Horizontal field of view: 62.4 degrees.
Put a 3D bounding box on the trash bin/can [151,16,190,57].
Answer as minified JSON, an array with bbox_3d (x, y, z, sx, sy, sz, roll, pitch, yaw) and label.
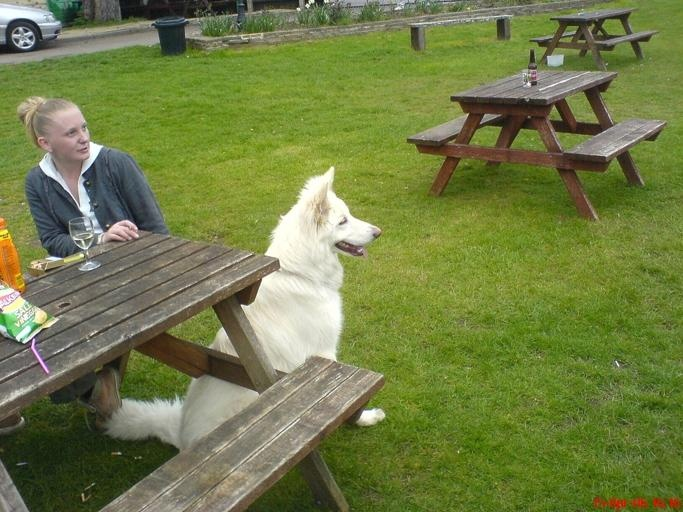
[{"bbox_3d":[-4.738,-6.099,15.789,0.806,0.929,0.479,-6,25,-16],"label":"trash bin/can"}]
